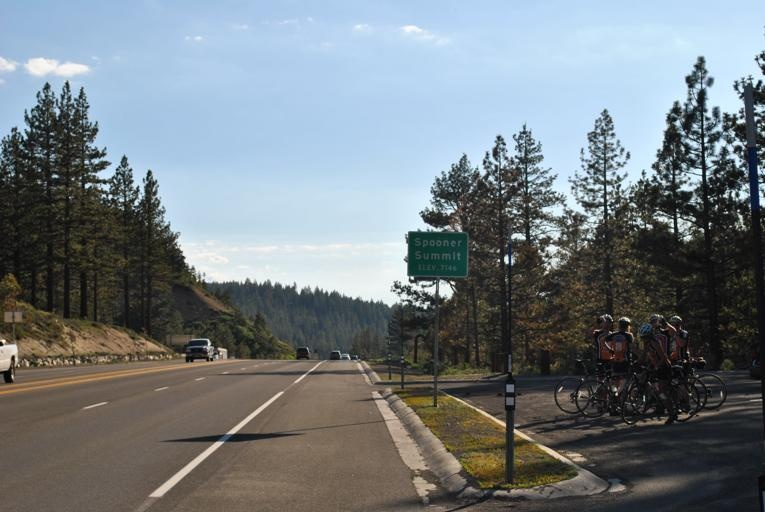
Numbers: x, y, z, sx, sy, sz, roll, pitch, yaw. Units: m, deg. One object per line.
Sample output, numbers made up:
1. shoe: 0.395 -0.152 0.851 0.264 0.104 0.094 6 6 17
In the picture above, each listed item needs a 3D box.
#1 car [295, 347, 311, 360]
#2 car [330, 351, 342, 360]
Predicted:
1. car: -9.886 12.118 107.116 1.226 1.110 2.162 -1 -12 -3
2. car: -6.355 13.391 115.794 1.000 0.891 1.741 0 -1 5
